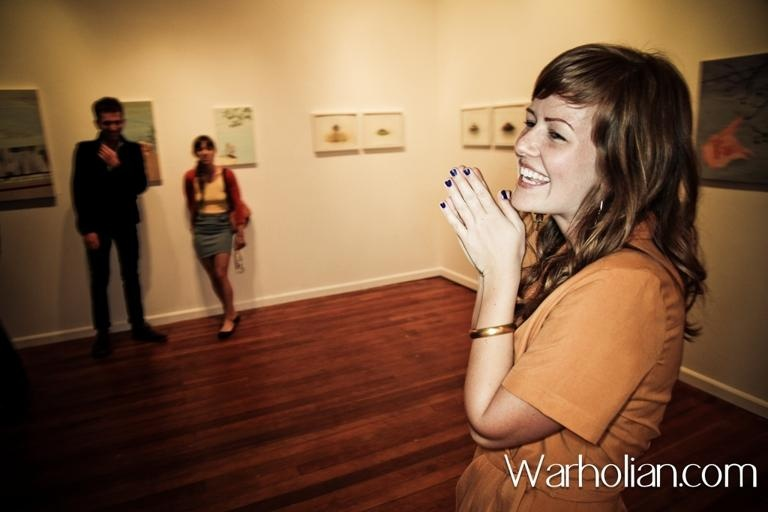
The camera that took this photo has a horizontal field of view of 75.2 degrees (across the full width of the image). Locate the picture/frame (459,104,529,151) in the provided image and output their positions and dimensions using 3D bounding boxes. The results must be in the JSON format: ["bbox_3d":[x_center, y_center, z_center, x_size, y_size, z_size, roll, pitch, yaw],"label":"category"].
[{"bbox_3d":[1.195,-1.404,5.418,0.182,0.600,1.312,-8,15,-26],"label":"picture/frame"}]

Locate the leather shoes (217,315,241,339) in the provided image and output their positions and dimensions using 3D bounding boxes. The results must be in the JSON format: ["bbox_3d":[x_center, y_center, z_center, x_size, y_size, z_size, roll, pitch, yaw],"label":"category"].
[{"bbox_3d":[-1.691,0.792,5.544,0.109,0.091,0.336,-4,31,24],"label":"leather shoes"}]

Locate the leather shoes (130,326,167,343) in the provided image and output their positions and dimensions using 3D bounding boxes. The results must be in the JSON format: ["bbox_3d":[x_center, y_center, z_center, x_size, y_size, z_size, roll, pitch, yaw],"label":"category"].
[{"bbox_3d":[-2.539,0.845,5.491,0.459,0.179,0.155,2,25,1],"label":"leather shoes"}]

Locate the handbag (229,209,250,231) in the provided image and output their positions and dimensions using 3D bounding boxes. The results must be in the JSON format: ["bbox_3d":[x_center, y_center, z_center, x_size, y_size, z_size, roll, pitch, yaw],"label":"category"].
[{"bbox_3d":[-1.574,-0.386,5.520,0.184,0.238,0.222,3,-4,-10],"label":"handbag"}]
